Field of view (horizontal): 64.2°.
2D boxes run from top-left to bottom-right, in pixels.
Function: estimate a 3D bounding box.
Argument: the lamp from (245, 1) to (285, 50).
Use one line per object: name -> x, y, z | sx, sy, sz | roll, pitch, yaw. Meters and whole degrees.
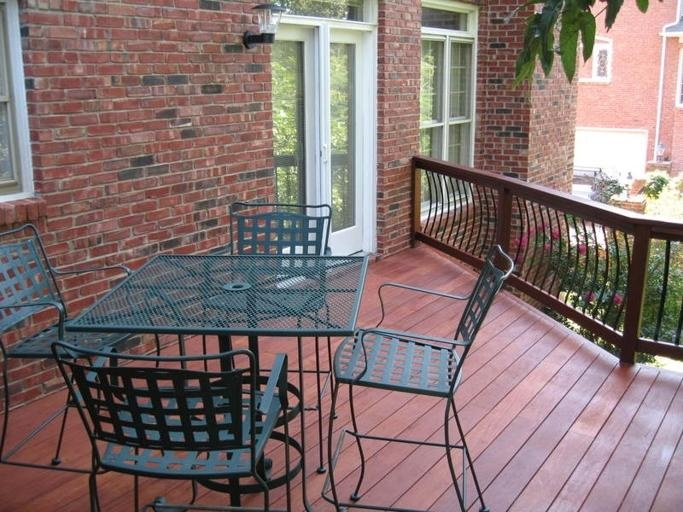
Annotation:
lamp -> -0.622, -1.838, 4.371 | 0.301, 0.320, 0.215 | 8, 22, 23
